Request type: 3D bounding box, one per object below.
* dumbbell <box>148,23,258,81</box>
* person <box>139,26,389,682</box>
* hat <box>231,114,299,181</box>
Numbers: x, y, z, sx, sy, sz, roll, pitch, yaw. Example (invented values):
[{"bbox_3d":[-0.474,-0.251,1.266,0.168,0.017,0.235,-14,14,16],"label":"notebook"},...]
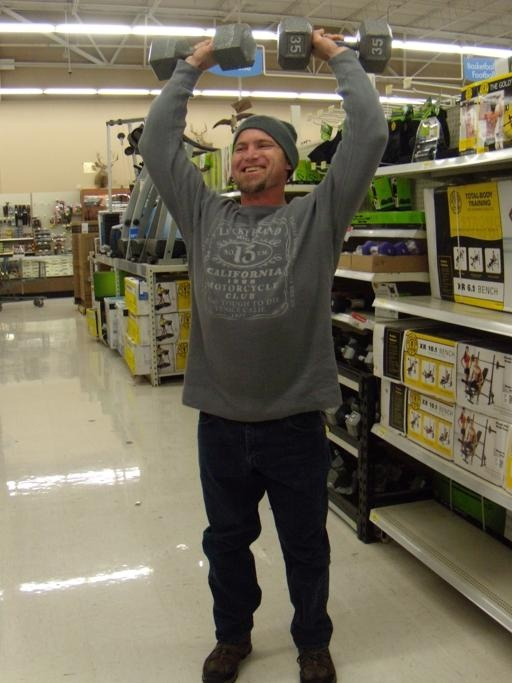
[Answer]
[{"bbox_3d":[-0.120,-0.676,1.231,0.232,0.113,0.106,4,44,25],"label":"dumbbell"},{"bbox_3d":[0.015,0.091,1.266,0.577,1.616,0.303,0,8,13],"label":"person"},{"bbox_3d":[0.022,-0.460,1.255,0.090,0.139,0.139,-10,19,-30],"label":"hat"}]
